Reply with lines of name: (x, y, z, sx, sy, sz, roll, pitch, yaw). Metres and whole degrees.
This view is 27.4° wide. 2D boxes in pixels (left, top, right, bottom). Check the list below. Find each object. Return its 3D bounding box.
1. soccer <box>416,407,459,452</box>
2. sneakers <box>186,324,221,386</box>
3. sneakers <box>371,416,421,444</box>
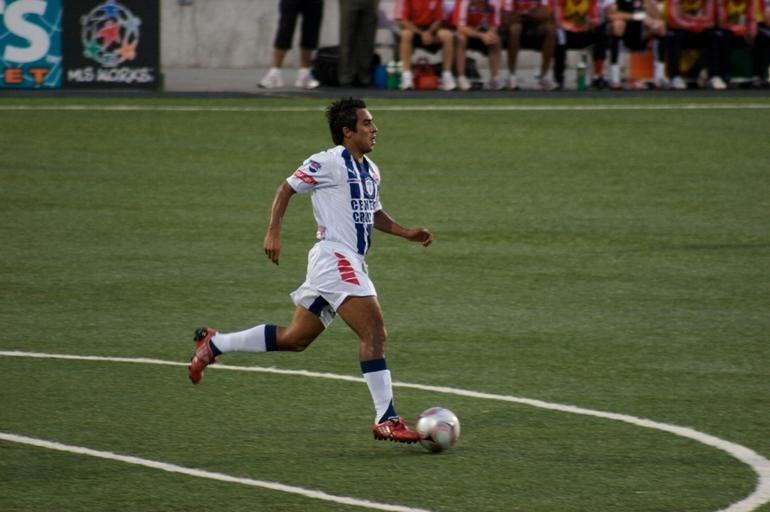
soccer: (0.471, 1.581, 14.197, 0.390, 0.393, 0.163, 1, 6, 0)
sneakers: (-1.719, 0.940, 14.884, 0.310, 0.554, 0.212, 21, 3, -3)
sneakers: (0.081, 1.591, 14.302, 0.514, 0.193, 0.189, 1, -3, 7)
